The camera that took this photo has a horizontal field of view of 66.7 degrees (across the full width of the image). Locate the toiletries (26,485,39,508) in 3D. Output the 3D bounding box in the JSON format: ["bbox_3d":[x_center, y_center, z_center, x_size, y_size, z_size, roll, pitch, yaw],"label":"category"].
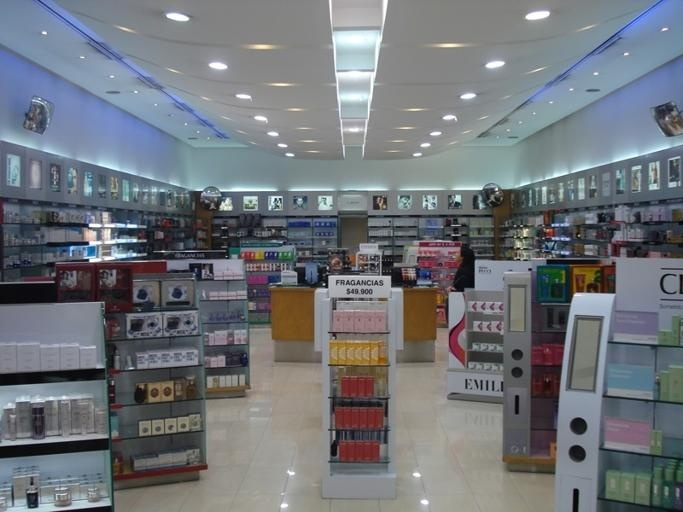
[{"bbox_3d":[-2.300,1.795,3.853,0.086,0.176,0.103,-4,0,-35],"label":"toiletries"}]

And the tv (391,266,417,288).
[{"bbox_3d":[1.389,0.466,11.579,0.473,0.241,0.627,0,0,2],"label":"tv"}]

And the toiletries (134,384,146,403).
[{"bbox_3d":[-2.152,1.477,5.520,0.125,0.186,0.043,0,-3,-7],"label":"toiletries"}]

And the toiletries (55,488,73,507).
[{"bbox_3d":[-2.087,1.804,3.909,0.118,0.117,0.122,1,-2,19],"label":"toiletries"}]

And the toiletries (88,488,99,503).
[{"bbox_3d":[-1.885,1.825,3.935,0.092,0.092,0.088,2,3,-11],"label":"toiletries"}]

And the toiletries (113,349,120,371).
[{"bbox_3d":[-2.396,1.118,5.536,0.050,0.214,0.107,-4,0,7],"label":"toiletries"}]
